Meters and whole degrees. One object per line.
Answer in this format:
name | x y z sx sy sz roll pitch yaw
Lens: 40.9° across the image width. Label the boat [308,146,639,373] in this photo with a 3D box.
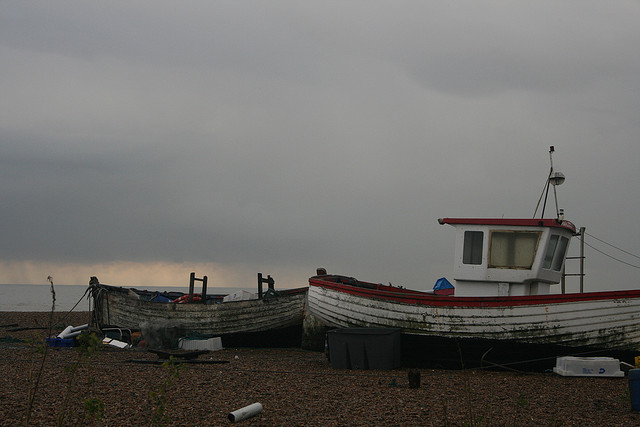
boat | 2.226 2.186 23.360 11.199 6.205 4.259 -2 -6 21
